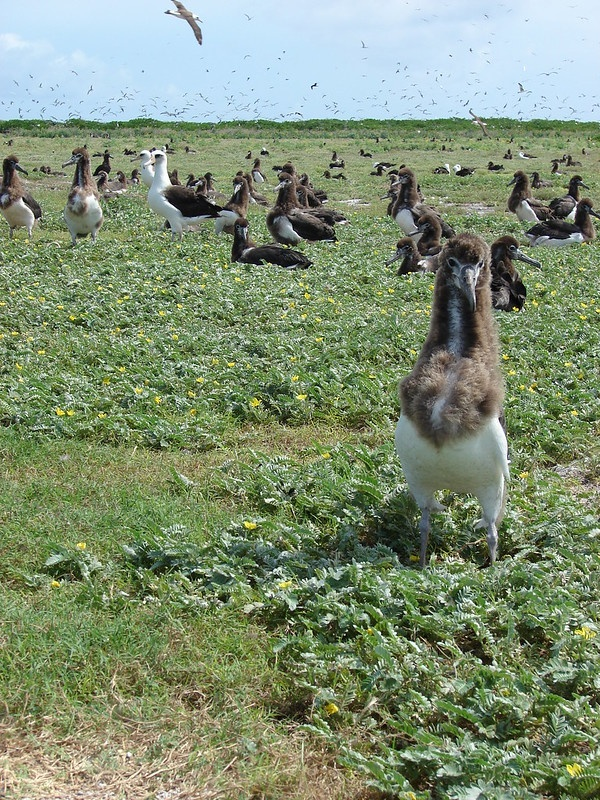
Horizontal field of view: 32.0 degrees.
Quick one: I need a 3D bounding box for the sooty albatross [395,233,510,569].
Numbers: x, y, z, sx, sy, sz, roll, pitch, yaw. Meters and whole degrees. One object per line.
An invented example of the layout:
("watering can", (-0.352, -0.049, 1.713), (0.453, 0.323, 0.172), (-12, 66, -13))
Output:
("sooty albatross", (0.918, 0.005, 6.184), (0.681, 1.989, 0.804), (5, 9, 4))
